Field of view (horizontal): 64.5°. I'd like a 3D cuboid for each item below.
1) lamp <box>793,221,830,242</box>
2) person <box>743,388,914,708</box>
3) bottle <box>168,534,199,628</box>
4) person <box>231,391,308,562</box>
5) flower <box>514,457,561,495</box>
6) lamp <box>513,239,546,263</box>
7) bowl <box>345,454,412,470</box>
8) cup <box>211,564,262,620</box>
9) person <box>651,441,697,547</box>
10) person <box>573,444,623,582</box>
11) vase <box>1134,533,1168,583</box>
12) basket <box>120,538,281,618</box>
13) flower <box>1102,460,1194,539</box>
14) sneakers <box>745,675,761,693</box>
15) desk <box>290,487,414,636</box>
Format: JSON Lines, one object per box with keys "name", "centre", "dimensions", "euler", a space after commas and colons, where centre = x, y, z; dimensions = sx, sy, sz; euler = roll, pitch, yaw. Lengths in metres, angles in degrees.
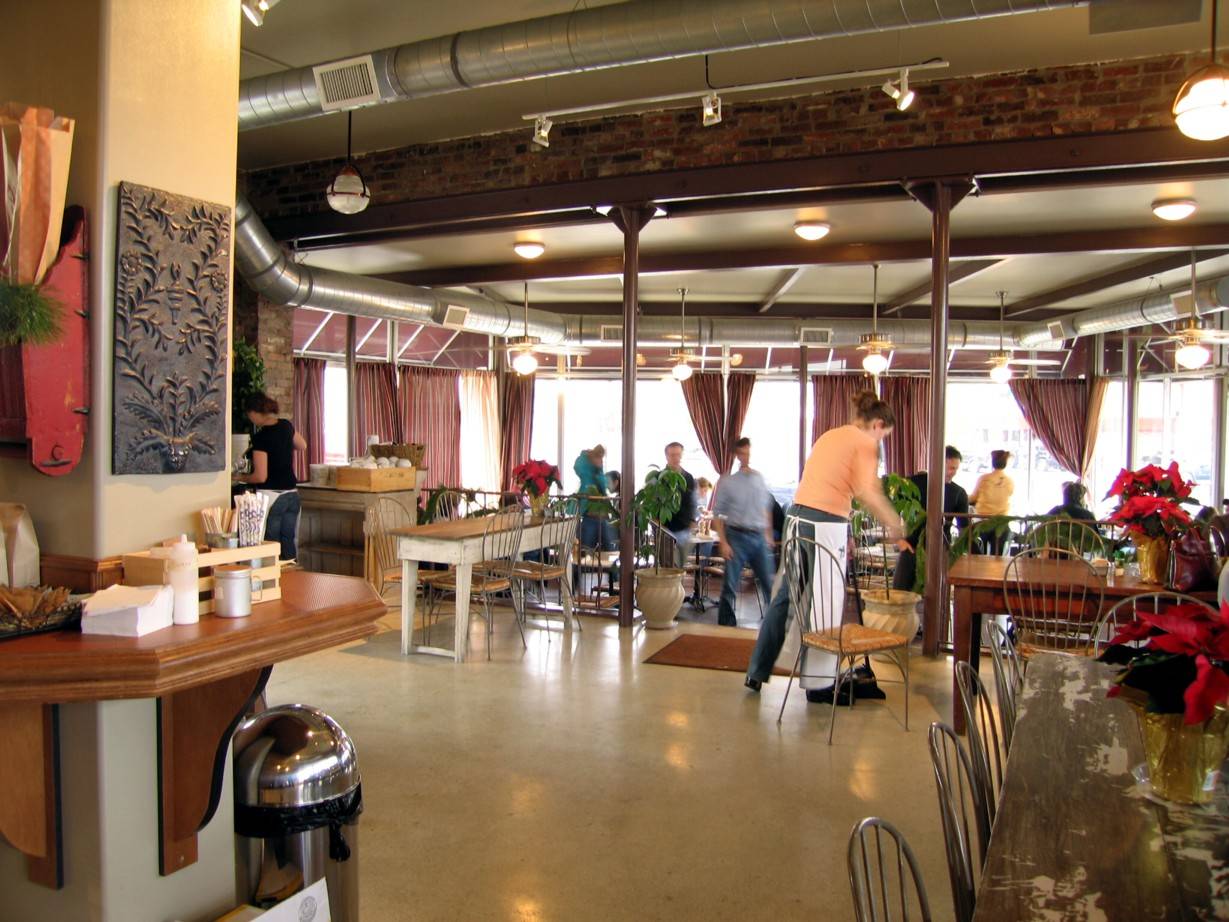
{"name": "lamp", "centre": [1.732, -2.028, 8.575], "dimensions": [0.291, 0.131, 0.326], "euler": [1, 5, 6]}
{"name": "person", "centre": [1.416, 0.567, 6.489], "dimensions": [0.940, 2.021, 0.913], "euler": [5, 0, 25]}
{"name": "bottle", "centre": [-1.289, 0.356, 2.920], "dimensions": [0.084, 0.232, 0.215], "euler": [-2, 6, -25]}
{"name": "person", "centre": [-2.905, 0.210, 8.207], "dimensions": [0.530, 1.509, 1.679], "euler": [-1, 6, -18]}
{"name": "flower", "centre": [-0.673, 0.140, 8.333], "dimensions": [0.313, 0.215, 0.329], "euler": [-2, 5, -6]}
{"name": "lamp", "centre": [-0.840, -2.100, 9.754], "dimensions": [0.229, 0.147, 0.238], "euler": [-2, 8, -15]}
{"name": "bowl", "centre": [-2.295, 0.026, 9.664], "dimensions": [0.405, 0.108, 0.700], "euler": [5, 7, 39]}
{"name": "cup", "centre": [-1.141, 0.398, 2.917], "dimensions": [0.147, 0.153, 0.096], "euler": [0, -1, 25]}
{"name": "person", "centre": [0.604, 0.554, 9.636], "dimensions": [0.421, 1.443, 0.421], "euler": [1, 10, 9]}
{"name": "person", "centre": [-0.184, 0.504, 10.196], "dimensions": [0.583, 1.473, 0.449], "euler": [11, 24, 42]}
{"name": "vase", "centre": [2.952, 0.541, 5.377], "dimensions": [0.154, 0.276, 0.124], "euler": [4, 6, 28]}
{"name": "basket", "centre": [-1.285, 0.334, 3.035], "dimensions": [0.283, 0.143, 0.294], "euler": [0, 1, 29]}
{"name": "flower", "centre": [2.947, 0.211, 5.415], "dimensions": [0.439, 0.486, 0.455], "euler": [-2, 2, 23]}
{"name": "sneakers", "centre": [0.907, 1.467, 6.426], "dimensions": [0.107, 0.119, 0.094], "euler": [-2, 5, 8]}
{"name": "desk", "centre": [-2.658, 0.862, 9.530], "dimensions": [1.033, 1.091, 0.592], "euler": [3, -4, 23]}
